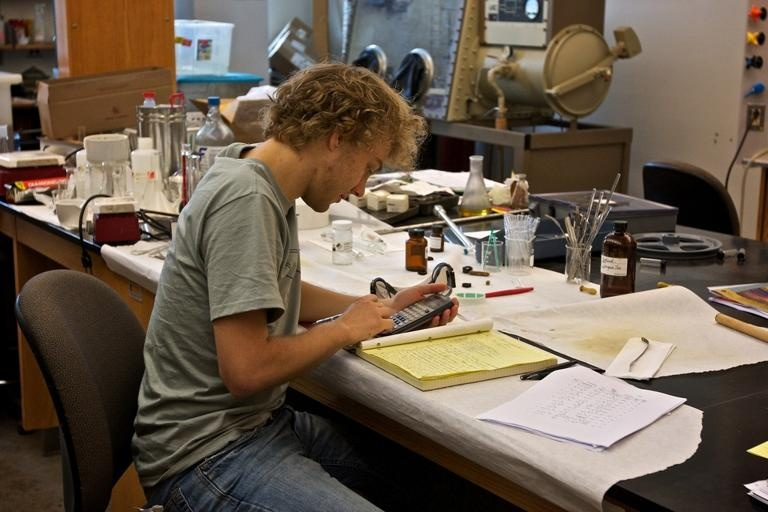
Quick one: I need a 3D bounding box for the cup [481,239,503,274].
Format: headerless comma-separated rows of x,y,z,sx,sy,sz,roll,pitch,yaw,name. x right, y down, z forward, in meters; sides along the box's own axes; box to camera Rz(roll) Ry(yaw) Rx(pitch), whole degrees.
0.399,0.000,2.113,0.106,0.116,0.101,1,9,0,cup

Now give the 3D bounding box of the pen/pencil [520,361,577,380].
0.400,0.283,1.454,0.106,0.016,0.014,-15,-3,-30,pen/pencil

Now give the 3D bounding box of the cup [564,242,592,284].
0.671,0.032,2.070,0.094,0.141,0.088,-4,4,0,cup

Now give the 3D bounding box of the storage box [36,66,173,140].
-1.442,-0.831,3.127,0.634,0.275,0.214,-22,39,-37,storage box

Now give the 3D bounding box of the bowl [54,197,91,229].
-1.278,-0.184,2.442,0.117,0.113,0.126,3,12,-1,bowl

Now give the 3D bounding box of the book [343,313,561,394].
0.191,0.250,1.504,0.256,0.043,0.230,-10,13,-29,book

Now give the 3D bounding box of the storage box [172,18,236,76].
-1.664,-1.915,5.258,0.555,0.500,0.554,-14,43,-34,storage box

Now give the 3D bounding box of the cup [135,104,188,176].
-1.069,-0.552,2.873,0.195,0.312,0.197,-2,17,0,cup

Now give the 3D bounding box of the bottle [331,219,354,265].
-0.157,-0.035,2.237,0.102,0.155,0.104,-2,-10,0,bottle

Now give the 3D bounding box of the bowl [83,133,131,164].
-1.188,-0.459,2.541,0.149,0.092,0.150,-1,3,0,bowl
